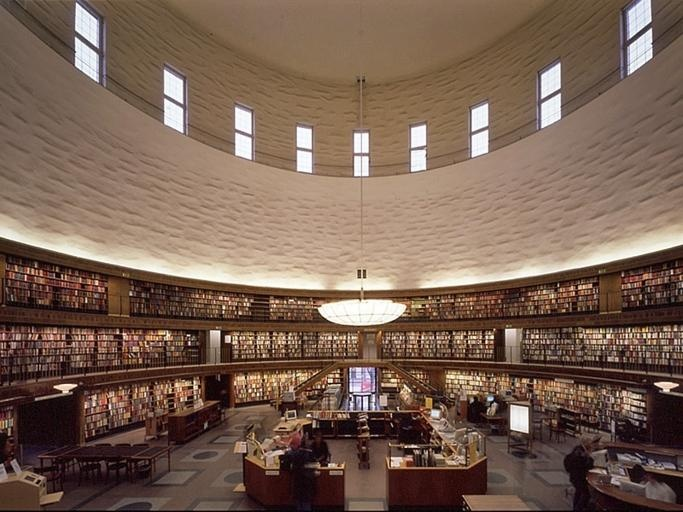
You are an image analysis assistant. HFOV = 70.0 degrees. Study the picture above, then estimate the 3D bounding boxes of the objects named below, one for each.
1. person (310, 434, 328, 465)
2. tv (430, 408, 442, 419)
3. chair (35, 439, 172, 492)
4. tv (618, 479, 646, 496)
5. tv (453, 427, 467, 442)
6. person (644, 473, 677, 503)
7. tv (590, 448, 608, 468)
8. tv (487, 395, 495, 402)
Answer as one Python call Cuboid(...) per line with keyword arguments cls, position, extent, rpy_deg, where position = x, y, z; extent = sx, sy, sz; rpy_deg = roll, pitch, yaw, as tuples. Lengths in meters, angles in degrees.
Cuboid(cls="person", position=(-0.564, 4.807, 11.930), extent=(0.530, 0.804, 0.565), rpy_deg=(1, -11, -14))
Cuboid(cls="tv", position=(2.898, 4.896, 14.917), extent=(0.236, 0.304, 0.551), rpy_deg=(2, -16, -8))
Cuboid(cls="chair", position=(-6.243, 5.655, 13.122), extent=(2.889, 0.997, 1.900), rpy_deg=(0, -16, 0))
Cuboid(cls="tv", position=(6.341, 5.088, 10.594), extent=(0.500, 0.278, 0.141), rpy_deg=(-10, -16, 30))
Cuboid(cls="tv", position=(3.040, 4.601, 12.433), extent=(0.202, 0.347, 0.078), rpy_deg=(3, -2, 32))
Cuboid(cls="person", position=(6.815, 5.069, 10.418), extent=(0.737, 0.285, 0.563), rpy_deg=(0, -2, 41))
Cuboid(cls="tv", position=(6.177, 4.874, 11.687), extent=(0.394, 0.426, 0.404), rpy_deg=(2, -15, 12))
Cuboid(cls="tv", position=(5.428, 5.240, 17.662), extent=(0.266, 0.187, 0.713), rpy_deg=(-5, -17, 15))
